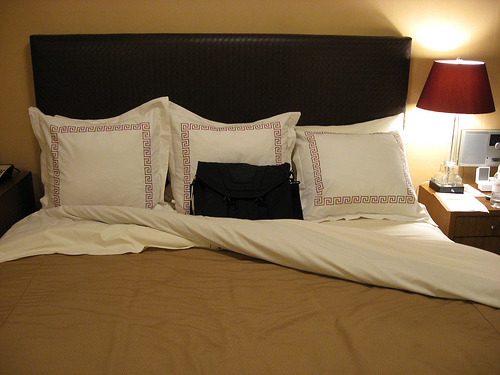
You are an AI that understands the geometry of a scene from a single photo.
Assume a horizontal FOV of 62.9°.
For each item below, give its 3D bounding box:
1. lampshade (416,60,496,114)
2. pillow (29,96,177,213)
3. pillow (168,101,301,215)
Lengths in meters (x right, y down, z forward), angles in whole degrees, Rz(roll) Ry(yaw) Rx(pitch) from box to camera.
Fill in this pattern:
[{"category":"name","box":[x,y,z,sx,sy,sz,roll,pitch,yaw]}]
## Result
[{"category":"lampshade","box":[1.435,-0.669,2.890,0.379,0.281,0.400,2,14,0]},{"category":"pillow","box":[-0.906,-0.215,2.598,0.690,0.619,0.260,-4,-4,-8]},{"category":"pillow","box":[-0.114,-0.168,2.615,0.687,0.608,0.197,-1,-15,-11]}]
